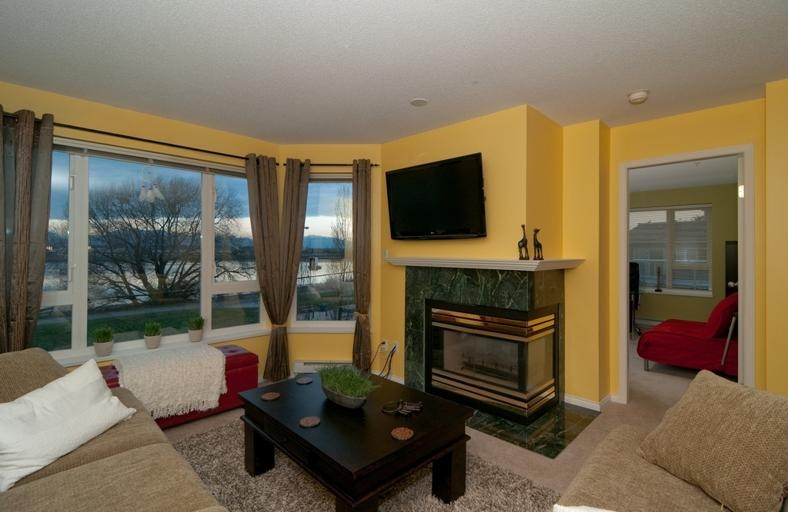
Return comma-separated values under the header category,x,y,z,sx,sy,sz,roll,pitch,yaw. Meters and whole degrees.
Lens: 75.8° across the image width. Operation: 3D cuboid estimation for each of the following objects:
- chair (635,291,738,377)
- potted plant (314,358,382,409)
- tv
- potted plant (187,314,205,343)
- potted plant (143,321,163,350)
category,x,y,z,sx,sy,sz,roll,pitch,yaw
chair,3.783,0.962,6.595,1.160,0.889,1.172,2,0,32
potted plant,-0.494,1.155,4.489,0.544,0.319,0.387,3,-7,26
tv,0.460,-0.612,5.700,1.325,0.901,0.132,-2,3,40
potted plant,-2.211,0.817,5.687,0.167,0.279,0.171,-2,4,-16
potted plant,-2.556,0.840,5.373,0.244,0.372,0.241,1,-1,-21
